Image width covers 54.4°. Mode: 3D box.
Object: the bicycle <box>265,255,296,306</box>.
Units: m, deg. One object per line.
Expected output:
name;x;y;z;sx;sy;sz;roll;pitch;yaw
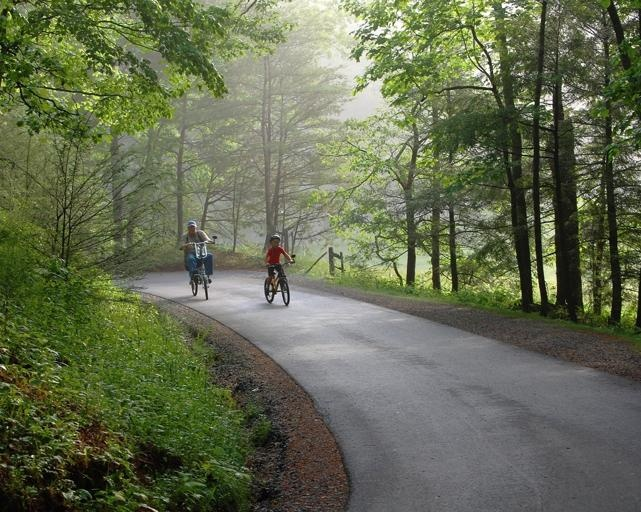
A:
bicycle;-1.173;0.738;16.807;0.704;1.078;1.477;-2;7;-4
